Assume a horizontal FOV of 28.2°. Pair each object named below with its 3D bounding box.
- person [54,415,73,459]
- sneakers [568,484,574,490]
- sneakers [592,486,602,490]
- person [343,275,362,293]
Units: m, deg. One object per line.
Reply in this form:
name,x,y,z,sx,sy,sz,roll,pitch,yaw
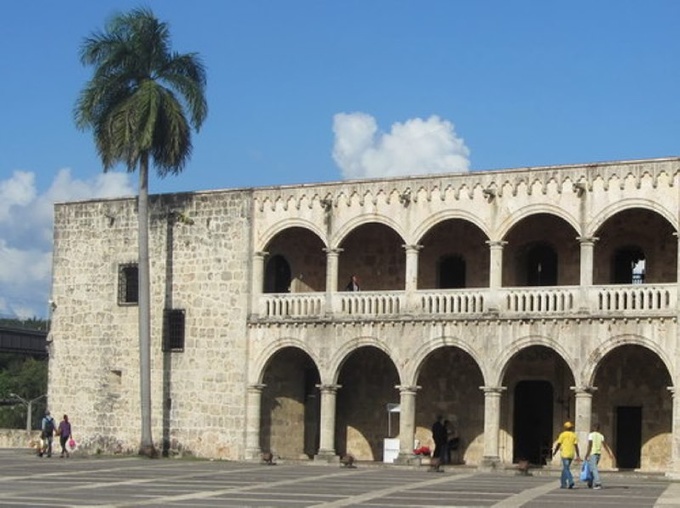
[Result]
person,-10.606,7.060,51.778,0.510,1.757,1.920,3,-12,-11
sneakers,7.093,7.225,41.448,0.138,0.168,0.134,-3,-4,24
sneakers,7.906,7.246,41.455,0.223,0.159,0.400,-2,-13,10
person,0.491,1.202,51.677,0.241,0.883,0.549,-3,-2,43
